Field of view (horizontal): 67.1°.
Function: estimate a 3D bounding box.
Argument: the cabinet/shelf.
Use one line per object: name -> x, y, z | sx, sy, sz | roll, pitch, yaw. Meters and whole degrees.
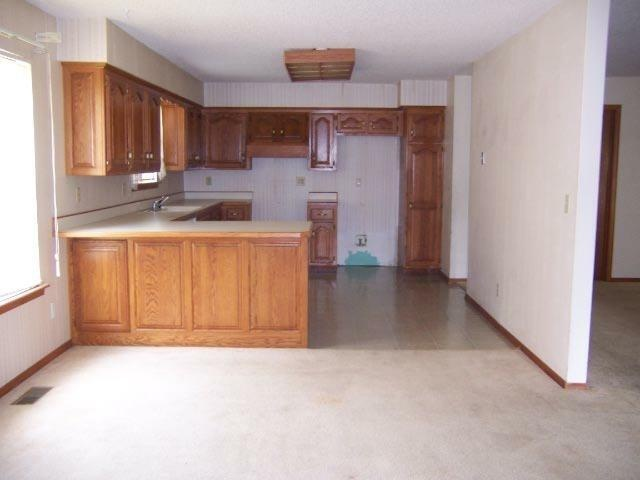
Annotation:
cabinet/shelf -> -0.441, -0.573, 5.985 | 3.837, 2.673, 4.191 | 3, 12, 14
